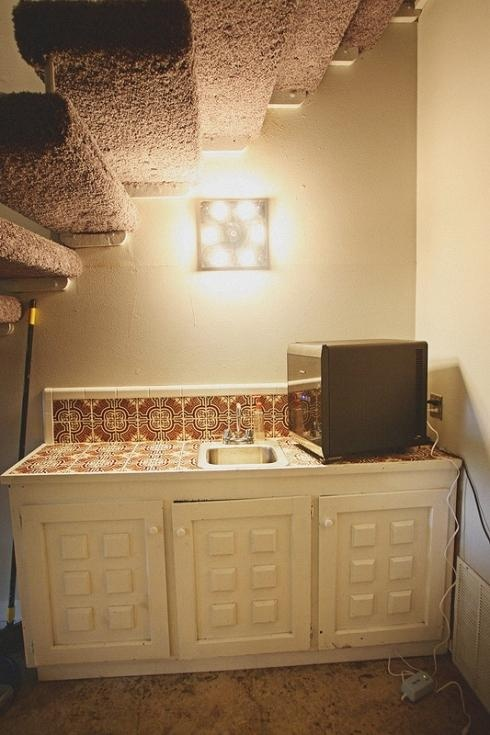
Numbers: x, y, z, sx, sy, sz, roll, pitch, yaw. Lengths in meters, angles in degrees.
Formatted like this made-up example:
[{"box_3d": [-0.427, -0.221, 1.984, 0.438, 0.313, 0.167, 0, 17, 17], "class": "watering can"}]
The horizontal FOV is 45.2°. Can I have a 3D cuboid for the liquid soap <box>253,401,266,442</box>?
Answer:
[{"box_3d": [0.059, 0.226, 2.489, 0.046, 0.153, 0.119, -1, 5, 2], "class": "liquid soap"}]

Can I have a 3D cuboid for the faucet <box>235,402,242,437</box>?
[{"box_3d": [-0.026, 0.220, 2.497, 0.031, 0.138, 0.084, -2, 6, 0], "class": "faucet"}]

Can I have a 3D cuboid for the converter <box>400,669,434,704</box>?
[{"box_3d": [0.579, 1.093, 2.020, 0.106, 0.037, 0.059, -6, 10, -37], "class": "converter"}]

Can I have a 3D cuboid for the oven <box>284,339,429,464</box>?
[{"box_3d": [0.414, 0.112, 2.328, 0.473, 0.428, 0.418, -4, 5, -21], "class": "oven"}]
